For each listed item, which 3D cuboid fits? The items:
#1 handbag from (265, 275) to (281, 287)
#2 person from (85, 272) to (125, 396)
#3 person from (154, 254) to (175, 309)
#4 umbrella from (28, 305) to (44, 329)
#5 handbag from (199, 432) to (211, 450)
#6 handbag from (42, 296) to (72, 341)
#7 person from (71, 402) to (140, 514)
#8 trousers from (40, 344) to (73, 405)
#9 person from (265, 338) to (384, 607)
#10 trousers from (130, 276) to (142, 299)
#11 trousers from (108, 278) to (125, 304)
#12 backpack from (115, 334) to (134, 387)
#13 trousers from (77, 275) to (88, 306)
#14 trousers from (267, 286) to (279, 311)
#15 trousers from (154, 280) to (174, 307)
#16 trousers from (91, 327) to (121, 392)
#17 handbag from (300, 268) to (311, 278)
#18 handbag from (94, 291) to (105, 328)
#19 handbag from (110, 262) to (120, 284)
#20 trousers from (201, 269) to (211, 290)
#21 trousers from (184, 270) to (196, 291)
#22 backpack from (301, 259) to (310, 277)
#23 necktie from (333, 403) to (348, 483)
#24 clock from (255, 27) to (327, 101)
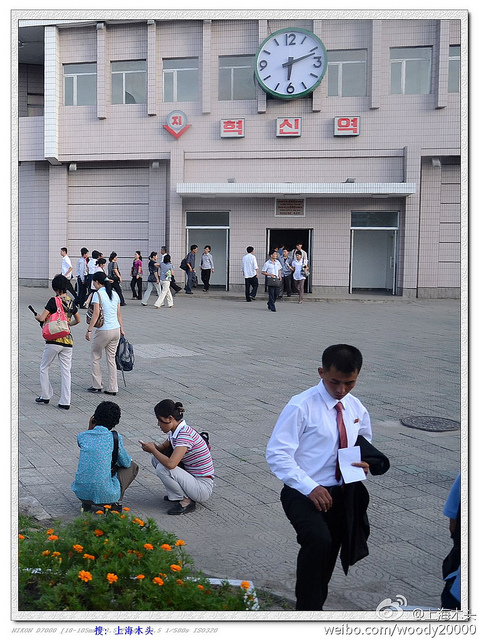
[{"bbox_3d":[0.960,-1.240,19.316,0.429,0.500,0.271,2,13,-3],"label":"handbag"},{"bbox_3d":[-1.837,0.170,9.151,0.479,1.700,0.699,-1,8,-12],"label":"person"},{"bbox_3d":[-2.220,-1.146,19.945,0.592,1.663,1.379,0,8,-7],"label":"person"},{"bbox_3d":[-2.463,-0.074,8.097,0.182,0.255,0.085,-39,1,41],"label":"umbrella"},{"bbox_3d":[-0.277,0.961,5.397,0.098,0.158,0.147,1,6,-21],"label":"handbag"},{"bbox_3d":[-2.242,-0.013,8.200,0.322,0.522,0.336,-2,9,-18],"label":"handbag"},{"bbox_3d":[-0.986,1.056,5.021,0.521,0.828,0.469,-4,9,-32],"label":"person"},{"bbox_3d":[-2.284,0.646,8.299,0.496,0.748,0.248,4,8,19],"label":"trousers"},{"bbox_3d":[0.443,0.837,3.453,0.390,1.457,0.612,8,11,44],"label":"person"},{"bbox_3d":[-3.658,-1.162,23.692,0.321,0.812,1.118,-1,9,-14],"label":"trousers"},{"bbox_3d":[-3.766,-0.961,20.634,0.393,0.919,2.797,0,10,-10],"label":"trousers"},{"bbox_3d":[-1.559,0.520,9.138,0.189,0.676,0.225,-10,-7,16],"label":"backpack"},{"bbox_3d":[-4.926,-0.954,21.105,0.286,0.935,0.493,-1,8,-15],"label":"trousers"},{"bbox_3d":[0.966,-0.649,19.597,0.296,0.737,0.588,1,8,2],"label":"trousers"},{"bbox_3d":[-2.258,-0.805,19.938,0.471,0.851,0.888,0,9,-5],"label":"trousers"},{"bbox_3d":[-1.868,0.545,9.213,0.361,0.917,0.364,3,9,-29],"label":"trousers"},{"bbox_3d":[2.109,-1.537,22.070,0.249,0.399,0.133,-2,3,-3],"label":"handbag"},{"bbox_3d":[-1.849,-0.130,8.856,0.100,0.465,0.143,2,8,11],"label":"handbag"},{"bbox_3d":[-3.944,-1.449,21.180,0.299,0.667,0.436,-8,11,-10],"label":"handbag"},{"bbox_3d":[-1.247,-1.530,25.145,0.304,0.792,0.513,1,8,-2],"label":"trousers"},{"bbox_3d":[-1.798,-1.460,24.214,0.362,0.785,0.964,1,9,-4],"label":"trousers"},{"bbox_3d":[2.169,-1.632,22.120,0.236,0.407,0.383,-1,2,-10],"label":"backpack"},{"bbox_3d":[0.512,0.624,3.408,0.066,0.399,0.085,0,8,-4],"label":"necktie"},{"bbox_3d":[1.832,-8.932,23.290,2.099,2.576,0.254,-1,2,6],"label":"clock"}]
